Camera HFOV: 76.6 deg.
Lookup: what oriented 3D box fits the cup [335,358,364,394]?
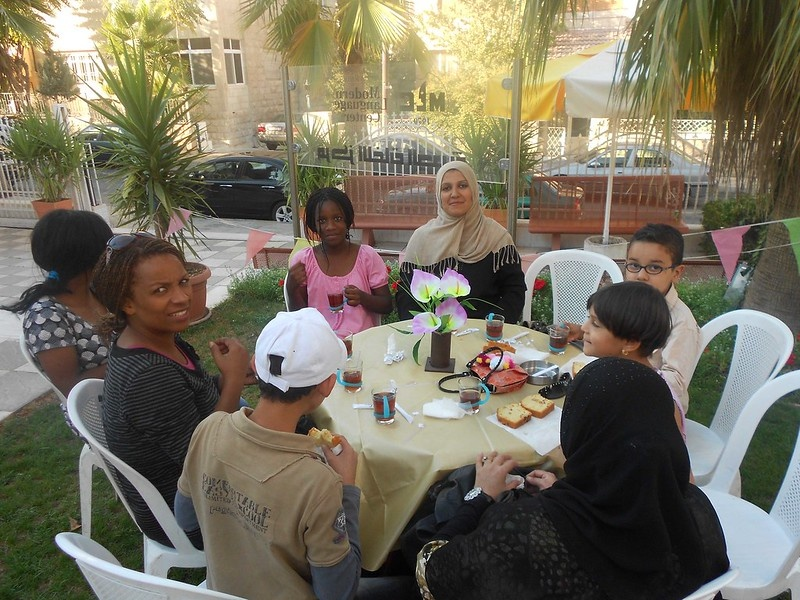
[{"bbox_3d":[-0.257,0.397,2.722,0.171,0.155,0.145,5,17,38],"label":"cup"}]

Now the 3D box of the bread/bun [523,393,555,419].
[{"bbox_3d":[0.651,0.504,2.450,0.101,0.029,0.093,-12,23,-32],"label":"bread/bun"}]

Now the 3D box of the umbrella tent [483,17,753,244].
[{"bbox_3d":[2.625,-2.174,6.332,2.402,1.920,2.511,0,19,10],"label":"umbrella tent"}]

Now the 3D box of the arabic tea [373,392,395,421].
[{"bbox_3d":[-0.076,0.511,2.443,0.097,0.108,0.118,0,5,1],"label":"arabic tea"}]

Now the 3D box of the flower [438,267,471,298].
[{"bbox_3d":[0.291,-0.089,2.757,0.143,0.201,0.209,0,16,4],"label":"flower"}]

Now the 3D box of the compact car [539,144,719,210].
[{"bbox_3d":[3.456,-2.250,8.180,2.441,0.833,1.075,6,47,17],"label":"compact car"}]

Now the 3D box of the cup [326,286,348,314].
[{"bbox_3d":[-0.431,0.011,3.531,0.118,0.154,0.149,-1,7,-1],"label":"cup"}]

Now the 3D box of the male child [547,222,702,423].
[{"bbox_3d":[1.397,0.226,3.002,0.629,1.286,0.815,12,-4,-8],"label":"male child"}]

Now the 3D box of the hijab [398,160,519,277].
[{"bbox_3d":[0.420,-0.644,3.831,0.836,0.809,0.420,-2,3,6],"label":"hijab"}]

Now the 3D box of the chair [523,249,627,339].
[{"bbox_3d":[1.348,-0.151,4.079,0.597,0.864,0.602,8,34,21],"label":"chair"}]

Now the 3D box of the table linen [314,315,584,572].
[{"bbox_3d":[0.200,0.624,2.167,0.780,0.229,0.891,-8,28,-10],"label":"table linen"}]

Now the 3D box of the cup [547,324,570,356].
[{"bbox_3d":[0.898,0.236,2.951,0.117,0.163,0.152,0,13,1],"label":"cup"}]

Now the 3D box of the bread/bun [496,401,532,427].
[{"bbox_3d":[0.536,0.539,2.392,0.096,0.030,0.103,-18,24,-31],"label":"bread/bun"}]

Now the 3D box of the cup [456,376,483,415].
[{"bbox_3d":[0.371,0.476,2.507,0.142,0.151,0.093,-5,5,-7],"label":"cup"}]

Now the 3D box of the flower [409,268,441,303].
[{"bbox_3d":[0.138,-0.065,2.695,0.146,0.190,0.086,-2,16,-3],"label":"flower"}]

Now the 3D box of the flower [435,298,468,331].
[{"bbox_3d":[0.274,0.077,2.736,0.142,0.175,0.113,17,3,-2],"label":"flower"}]

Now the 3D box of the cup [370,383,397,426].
[{"bbox_3d":[-0.074,0.517,2.429,0.103,0.149,0.144,-3,5,2],"label":"cup"}]

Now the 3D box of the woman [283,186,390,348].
[{"bbox_3d":[-0.455,-0.197,3.683,0.714,1.231,0.708,-3,6,-7],"label":"woman"}]

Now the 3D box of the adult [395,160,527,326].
[{"bbox_3d":[0.414,-0.418,3.780,0.939,1.270,0.654,-1,2,17],"label":"adult"}]

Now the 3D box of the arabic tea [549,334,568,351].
[{"bbox_3d":[0.915,0.253,2.944,0.080,0.094,0.090,-1,14,-7],"label":"arabic tea"}]

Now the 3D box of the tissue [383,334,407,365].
[{"bbox_3d":[-0.032,0.299,2.994,0.144,0.028,0.214,-6,53,-1],"label":"tissue"}]

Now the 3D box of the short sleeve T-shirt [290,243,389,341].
[{"bbox_3d":[-0.466,-0.019,3.786,0.731,0.768,0.444,0,6,-10],"label":"short sleeve T-shirt"}]

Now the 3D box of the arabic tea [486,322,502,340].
[{"bbox_3d":[0.564,0.180,3.121,0.083,0.114,0.110,-5,17,-10],"label":"arabic tea"}]

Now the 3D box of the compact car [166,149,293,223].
[{"bbox_3d":[-3.127,-2.259,10.384,1.868,1.269,0.708,1,16,6],"label":"compact car"}]

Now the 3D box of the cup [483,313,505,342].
[{"bbox_3d":[0.551,0.168,3.072,0.122,0.160,0.150,1,10,3],"label":"cup"}]

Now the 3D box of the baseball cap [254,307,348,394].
[{"bbox_3d":[-0.401,0.121,1.764,0.242,0.170,0.301,42,51,20],"label":"baseball cap"}]
